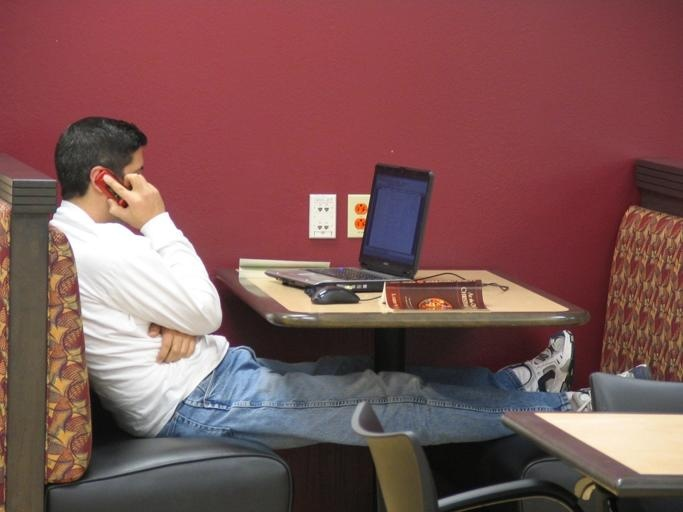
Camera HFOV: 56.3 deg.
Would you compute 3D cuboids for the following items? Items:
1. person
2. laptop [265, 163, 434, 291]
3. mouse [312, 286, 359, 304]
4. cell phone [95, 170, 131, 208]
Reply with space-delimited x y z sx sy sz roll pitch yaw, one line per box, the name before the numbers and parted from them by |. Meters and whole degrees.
person | -0.099 0.131 2.070 1.565 0.923 0.536 -1 -1 -15
laptop | 0.024 -0.091 2.235 0.485 0.431 0.452 0 6 -22
mouse | -0.026 0.106 1.873 0.105 0.035 0.060 -1 5 -16
cell phone | -0.676 -0.195 1.876 0.026 0.073 0.103 -8 -51 48
